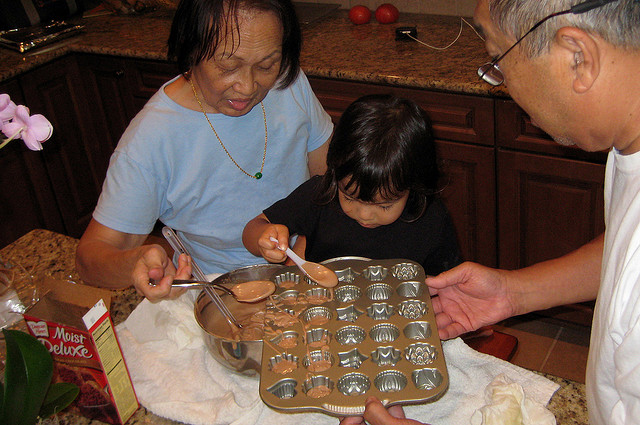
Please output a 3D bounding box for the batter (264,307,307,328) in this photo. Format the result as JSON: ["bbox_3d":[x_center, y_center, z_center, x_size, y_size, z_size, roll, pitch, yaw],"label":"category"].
[{"bbox_3d":[-0.103,0.268,1.230,0.059,0.009,0.041,-16,30,-20],"label":"batter"}]

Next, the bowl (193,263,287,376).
[{"bbox_3d":[-0.217,0.261,1.196,0.209,0.079,0.204,-29,47,36],"label":"bowl"}]

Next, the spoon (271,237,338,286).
[{"bbox_3d":[-0.051,0.127,1.423,0.324,0.054,0.097,9,55,44],"label":"spoon"}]

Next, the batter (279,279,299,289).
[{"bbox_3d":[-0.091,0.197,1.331,0.046,0.010,0.041,-18,34,-21],"label":"batter"}]

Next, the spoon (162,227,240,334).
[{"bbox_3d":[-0.341,0.194,1.384,0.034,0.035,0.336,-36,64,5],"label":"spoon"}]

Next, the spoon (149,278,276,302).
[{"bbox_3d":[-0.276,0.216,1.286,0.290,0.040,0.121,5,10,-11],"label":"spoon"}]

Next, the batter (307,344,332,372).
[{"bbox_3d":[-0.004,0.350,1.155,0.056,0.020,0.079,-4,32,0],"label":"batter"}]

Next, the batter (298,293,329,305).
[{"bbox_3d":[-0.018,0.229,1.290,0.073,0.019,0.037,-5,32,-1],"label":"batter"}]

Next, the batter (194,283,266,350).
[{"bbox_3d":[-0.231,0.259,1.255,0.172,0.108,0.152,-7,32,-4],"label":"batter"}]

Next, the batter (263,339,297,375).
[{"bbox_3d":[-0.090,0.356,1.118,0.059,0.027,0.057,14,36,26],"label":"batter"}]

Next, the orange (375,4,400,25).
[{"bbox_3d":[0.389,-1.154,2.849,0.121,0.087,0.120,-16,58,-13],"label":"orange"}]

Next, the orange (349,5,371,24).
[{"bbox_3d":[0.228,-1.175,2.849,0.115,0.089,0.082,9,34,20],"label":"orange"}]

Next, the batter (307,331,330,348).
[{"bbox_3d":[-0.001,0.315,1.202,0.025,0.029,0.033,11,20,37],"label":"batter"}]
